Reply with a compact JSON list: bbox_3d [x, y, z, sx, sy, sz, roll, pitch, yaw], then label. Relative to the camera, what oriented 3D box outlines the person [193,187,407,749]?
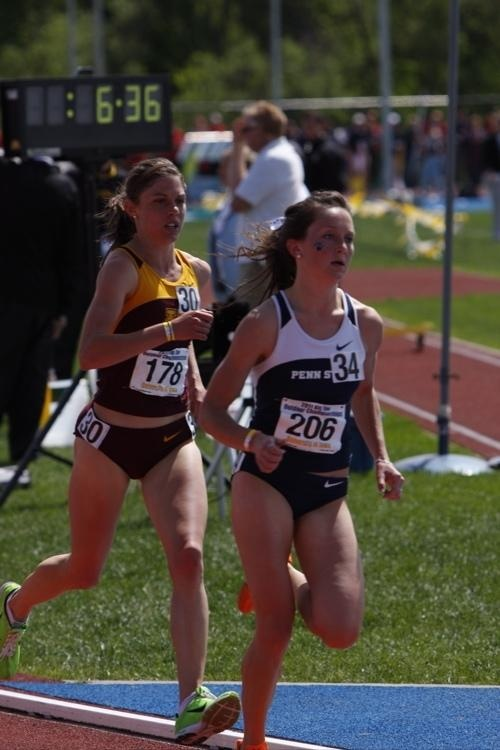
[{"bbox_3d":[0.144,0.276,2.242,0.509,1.476,0.696,-2,13,10],"label":"person"}]

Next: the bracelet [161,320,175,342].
[{"bbox_3d":[-0.213,-0.113,2.210,0.032,0.042,0.042,-4,-6,9],"label":"bracelet"}]

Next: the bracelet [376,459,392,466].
[{"bbox_3d":[0.357,0.230,2.244,0.026,0.009,0.019,13,-17,16],"label":"bracelet"}]

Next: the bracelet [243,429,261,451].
[{"bbox_3d":[-0.002,0.154,2.009,0.012,0.042,0.046,23,19,14],"label":"bracelet"}]
